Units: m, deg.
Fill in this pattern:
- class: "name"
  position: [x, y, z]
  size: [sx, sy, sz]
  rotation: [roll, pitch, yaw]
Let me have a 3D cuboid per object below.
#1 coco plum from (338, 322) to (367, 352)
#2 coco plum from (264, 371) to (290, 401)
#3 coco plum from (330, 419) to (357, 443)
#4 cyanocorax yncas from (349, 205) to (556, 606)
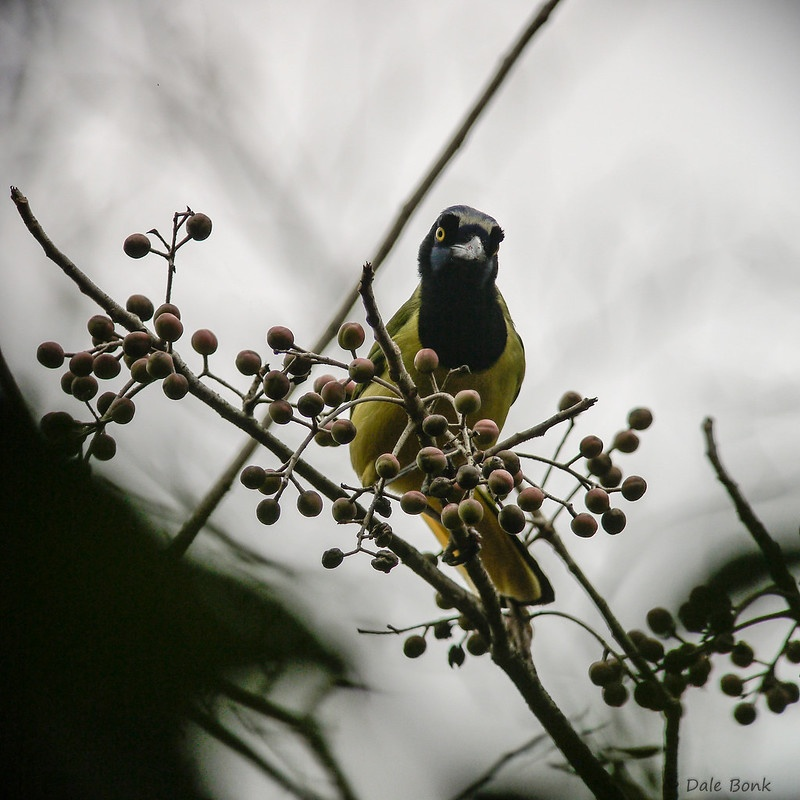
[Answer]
- class: "coco plum"
  position: [-0.112, -0.143, 3.441]
  size: [0.060, 0.084, 0.065]
  rotation: [7, 5, 32]
- class: "coco plum"
  position: [-0.271, -0.032, 3.280]
  size: [0.064, 0.085, 0.069]
  rotation: [1, 0, 5]
- class: "coco plum"
  position: [-0.123, 0.068, 3.385]
  size: [0.058, 0.077, 0.062]
  rotation: [1, 2, 5]
- class: "cyanocorax yncas"
  position: [0.160, 0.053, 4.779]
  size: [0.493, 1.254, 0.789]
  rotation: [5, 9, 12]
